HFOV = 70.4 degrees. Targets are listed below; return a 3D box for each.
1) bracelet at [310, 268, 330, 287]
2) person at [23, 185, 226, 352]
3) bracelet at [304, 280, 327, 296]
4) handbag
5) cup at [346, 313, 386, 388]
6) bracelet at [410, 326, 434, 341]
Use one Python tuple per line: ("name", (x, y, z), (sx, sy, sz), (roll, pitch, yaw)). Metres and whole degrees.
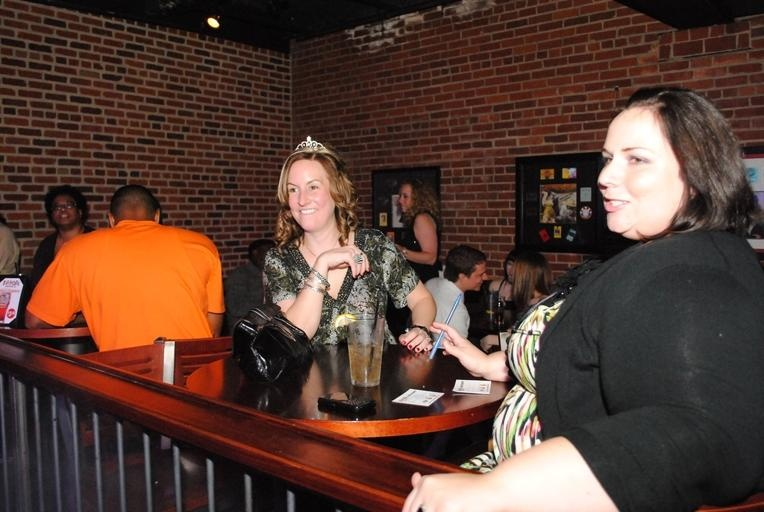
("bracelet", (-0.242, 0.082, 2.130), (0.030, 0.074, 0.059), (-43, 3, -8))
("person", (-1.215, 0.062, 2.627), (0.820, 0.731, 0.408), (5, 8, 6))
("bracelet", (-0.255, 0.127, 2.098), (0.066, 0.022, 0.057), (21, -8, -12))
("handbag", (-0.354, 0.290, 1.748), (0.263, 0.089, 0.198), (28, 39, 31))
("cup", (-0.050, 0.284, 1.686), (0.111, 0.227, 0.153), (5, 8, 2))
("bracelet", (0.149, 0.302, 2.149), (0.060, 0.023, 0.067), (23, -11, -27))
